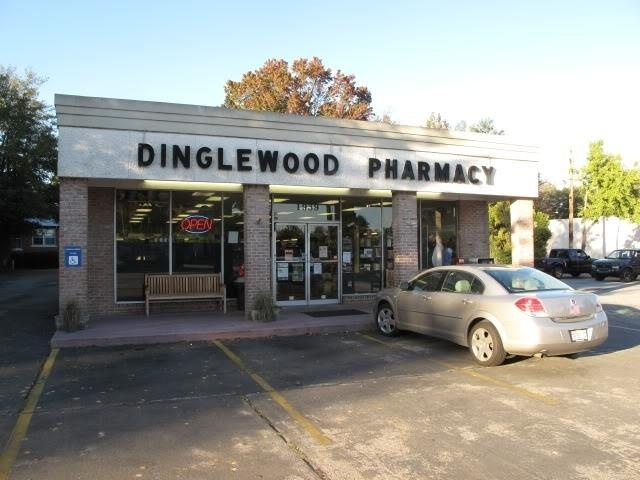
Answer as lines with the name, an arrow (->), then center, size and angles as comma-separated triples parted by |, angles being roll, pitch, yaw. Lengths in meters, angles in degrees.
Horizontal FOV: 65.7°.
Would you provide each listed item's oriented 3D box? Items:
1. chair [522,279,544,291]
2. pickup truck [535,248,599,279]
chair -> 4.113, 0.840, 9.636 | 0.388, 0.113, 0.240 | -4, 11, -30
pickup truck -> 16.560, 1.535, 33.269 | 3.602, 1.497, 1.867 | -3, 3, -16
